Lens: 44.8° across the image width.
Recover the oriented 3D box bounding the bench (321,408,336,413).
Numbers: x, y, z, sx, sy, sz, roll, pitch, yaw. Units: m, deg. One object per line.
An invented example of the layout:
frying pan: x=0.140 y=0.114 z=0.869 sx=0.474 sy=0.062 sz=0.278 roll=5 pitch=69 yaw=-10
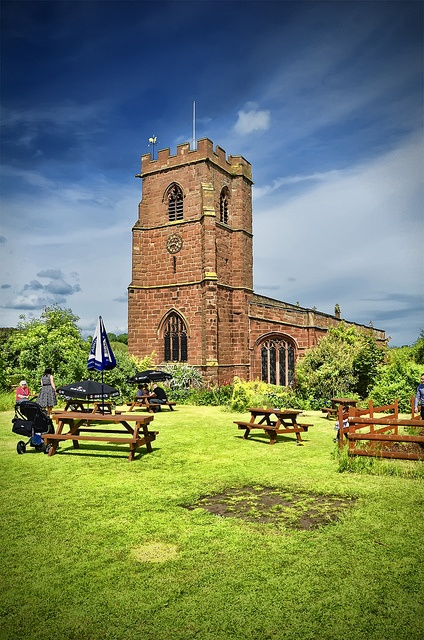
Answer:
bench: x=3.766 y=2.929 z=16.642 sx=0.555 sy=0.152 sz=0.547 roll=4 pitch=-9 yaw=-24

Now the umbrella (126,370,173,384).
umbrella: x=-2.289 y=2.146 z=19.144 sx=1.317 sy=0.558 sz=2.334 roll=-1 pitch=-2 yaw=-2

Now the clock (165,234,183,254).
clock: x=-2.024 y=-4.117 z=27.726 sx=0.125 sy=0.933 sz=0.874 roll=15 pitch=13 yaw=-46

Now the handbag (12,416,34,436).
handbag: x=-4.035 y=2.283 z=10.795 sx=0.471 sy=0.394 sz=0.359 roll=-2 pitch=-2 yaw=35
